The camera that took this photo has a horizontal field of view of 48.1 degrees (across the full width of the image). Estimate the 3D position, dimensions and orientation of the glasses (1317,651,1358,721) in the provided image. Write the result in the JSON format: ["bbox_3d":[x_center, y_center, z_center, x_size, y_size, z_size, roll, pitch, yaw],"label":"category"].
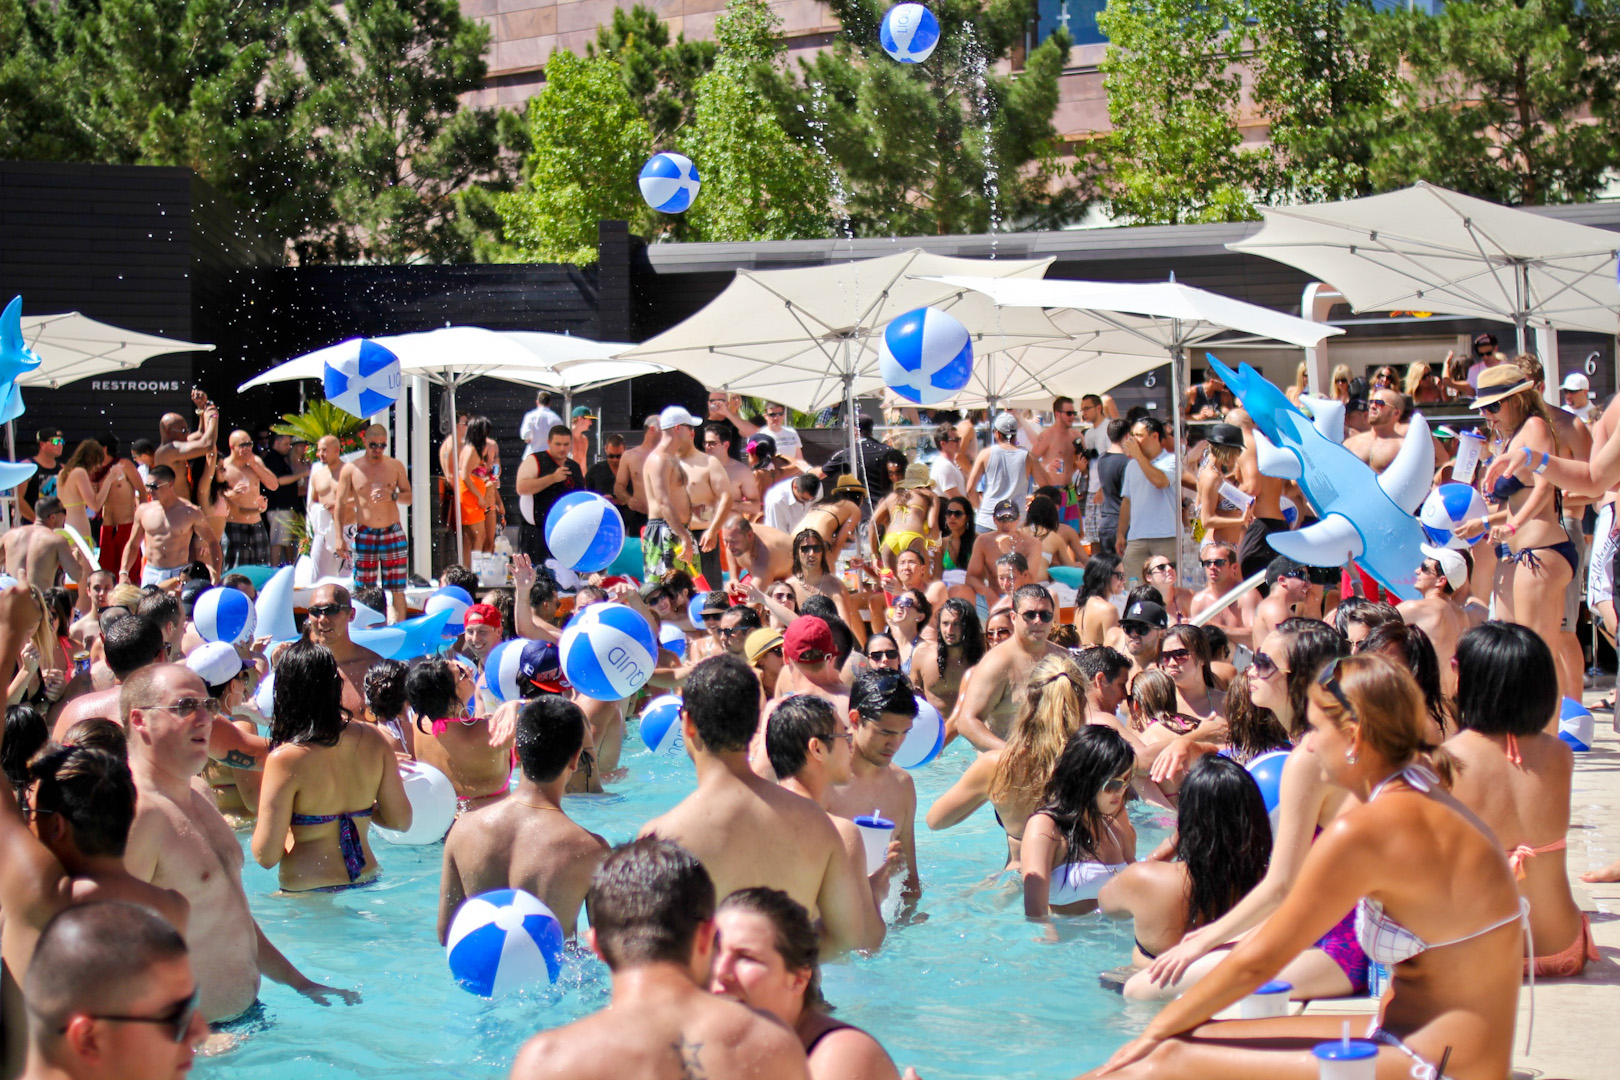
[{"bbox_3d":[2.246,0.622,7.850,0.152,0.216,0.090,-31,0,-38],"label":"glasses"}]

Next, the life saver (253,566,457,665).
[{"bbox_3d":[-3.102,0.622,12.683,1.123,0.836,1.829,0,1,-4],"label":"life saver"}]

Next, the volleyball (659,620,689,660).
[{"bbox_3d":[-1.037,0.731,13.794,0.193,0.265,0.233,-16,27,-4],"label":"volleyball"}]

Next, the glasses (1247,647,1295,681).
[{"bbox_3d":[2.499,0.686,9.780,0.243,0.087,0.201,27,-10,-30],"label":"glasses"}]

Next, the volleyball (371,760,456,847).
[{"bbox_3d":[-2.259,1.502,10.701,0.483,0.448,0.412,25,-6,-29],"label":"volleyball"}]

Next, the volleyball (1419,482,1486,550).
[{"bbox_3d":[4.203,-0.151,11.973,0.422,0.469,0.433,-22,-11,21],"label":"volleyball"}]

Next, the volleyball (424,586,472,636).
[{"bbox_3d":[-2.630,0.484,13.365,0.299,0.405,0.335,7,-9,3],"label":"volleyball"}]

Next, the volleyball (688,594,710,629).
[{"bbox_3d":[-0.852,0.554,13.990,0.193,0.218,0.238,-8,-10,-8],"label":"volleyball"}]
